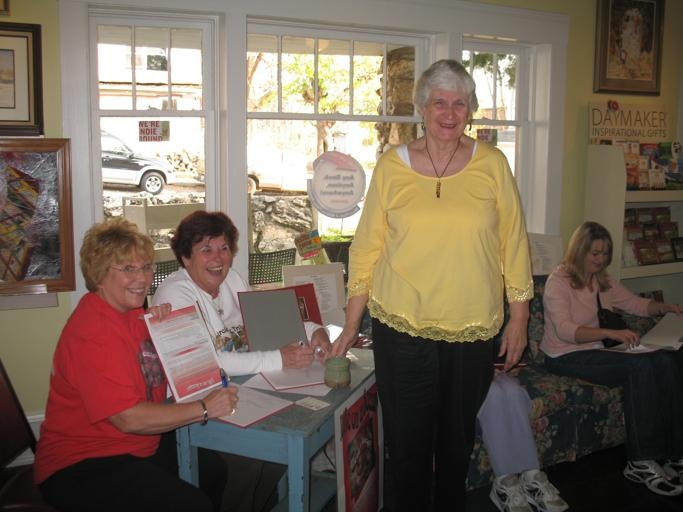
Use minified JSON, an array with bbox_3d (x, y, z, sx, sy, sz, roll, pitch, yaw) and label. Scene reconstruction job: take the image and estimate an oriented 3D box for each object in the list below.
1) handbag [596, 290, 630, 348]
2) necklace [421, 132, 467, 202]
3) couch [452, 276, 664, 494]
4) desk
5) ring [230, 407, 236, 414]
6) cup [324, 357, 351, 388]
[{"bbox_3d":[1.772,0.430,3.340,0.224,0.317,0.110,6,-15,-13],"label":"handbag"},{"bbox_3d":[0.381,-0.336,1.871,0.176,0.241,0.197,0,9,14],"label":"necklace"},{"bbox_3d":[1.167,0.509,3.003,1.547,0.801,0.753,-9,9,-22],"label":"couch"},{"bbox_3d":[-0.249,0.474,1.993,0.447,0.381,0.770,2,7,23],"label":"desk"},{"bbox_3d":[-0.402,0.575,1.888,0.008,0.017,0.012,23,7,-38],"label":"ring"},{"bbox_3d":[-0.011,0.474,2.125,0.113,0.104,0.116,1,4,0],"label":"cup"}]
